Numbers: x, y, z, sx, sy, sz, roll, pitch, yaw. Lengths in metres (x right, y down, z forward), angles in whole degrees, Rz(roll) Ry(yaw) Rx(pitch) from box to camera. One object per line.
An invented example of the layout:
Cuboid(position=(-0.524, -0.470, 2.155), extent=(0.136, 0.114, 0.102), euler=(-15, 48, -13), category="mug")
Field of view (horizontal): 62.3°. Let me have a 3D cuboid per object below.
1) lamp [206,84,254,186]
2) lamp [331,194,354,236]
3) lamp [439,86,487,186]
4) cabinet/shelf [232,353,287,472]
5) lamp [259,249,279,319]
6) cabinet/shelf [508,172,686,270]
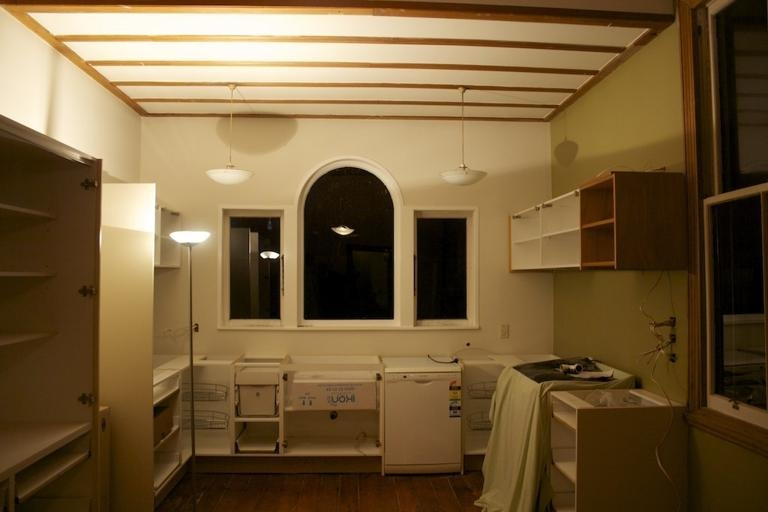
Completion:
Cuboid(position=(-1.500, -1.109, 6.184), extent=(0.386, 0.898, 0.790), euler=(1, -5, -14), category="lamp")
Cuboid(position=(-0.430, -0.377, 6.851), extent=(0.298, 0.474, 0.282), euler=(1, 0, -12), category="lamp")
Cuboid(position=(0.766, -1.097, 6.219), extent=(0.388, 0.907, 0.860), euler=(-1, -4, 5), category="lamp")
Cuboid(position=(-1.214, 1.468, 6.205), extent=(0.517, 0.915, 0.497), euler=(0, -5, -8), category="cabinet/shelf")
Cuboid(position=(-1.142, 0.275, 6.643), extent=(0.219, 0.691, 0.202), euler=(-8, -7, 31), category="lamp")
Cuboid(position=(1.809, -0.173, 5.794), extent=(0.530, 0.782, 2.121), euler=(1, -4, -9), category="cabinet/shelf")
